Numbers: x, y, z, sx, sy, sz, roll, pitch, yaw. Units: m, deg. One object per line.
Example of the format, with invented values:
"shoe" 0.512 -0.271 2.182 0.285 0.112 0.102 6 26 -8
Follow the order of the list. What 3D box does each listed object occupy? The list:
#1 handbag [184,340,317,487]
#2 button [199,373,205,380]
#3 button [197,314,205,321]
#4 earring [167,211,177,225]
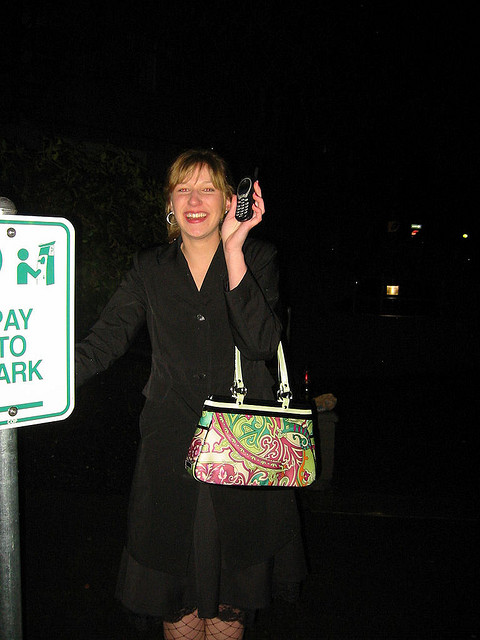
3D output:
"handbag" 0.052 0.169 1.322 0.289 0.483 0.150 2 40 -2
"button" -0.097 0.143 1.435 0.013 0.017 0.004 4 0 -5
"button" -0.100 -0.004 1.437 0.017 0.015 0.006 2 4 -10
"earring" -0.192 -0.285 1.586 0.032 0.041 0.008 -8 12 -22
